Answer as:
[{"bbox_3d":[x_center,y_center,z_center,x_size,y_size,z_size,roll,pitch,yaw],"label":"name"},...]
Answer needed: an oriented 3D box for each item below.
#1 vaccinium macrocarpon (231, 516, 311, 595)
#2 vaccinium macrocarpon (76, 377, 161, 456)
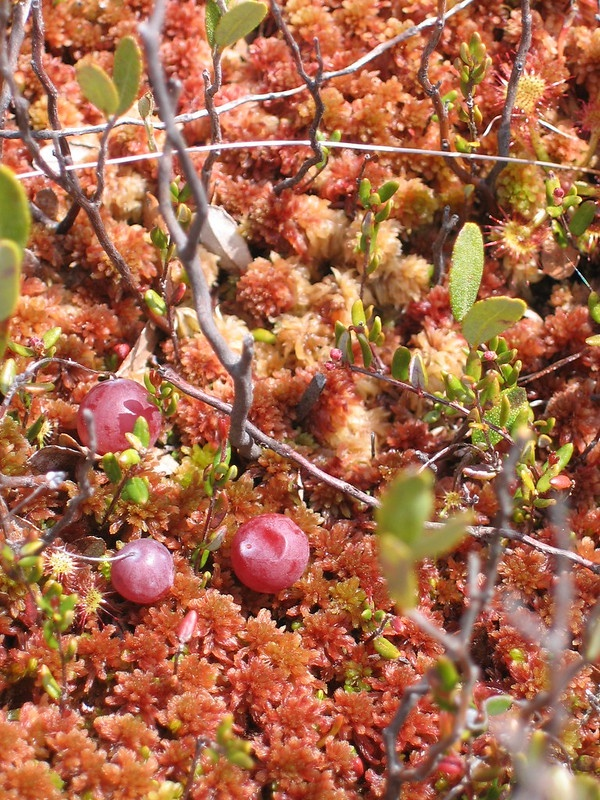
[{"bbox_3d":[-0.048,0.256,1.362,0.134,0.133,0.130,30,58,-47],"label":"vaccinium macrocarpon"},{"bbox_3d":[-0.324,0.034,1.543,0.163,0.149,0.177,4,49,-6],"label":"vaccinium macrocarpon"}]
